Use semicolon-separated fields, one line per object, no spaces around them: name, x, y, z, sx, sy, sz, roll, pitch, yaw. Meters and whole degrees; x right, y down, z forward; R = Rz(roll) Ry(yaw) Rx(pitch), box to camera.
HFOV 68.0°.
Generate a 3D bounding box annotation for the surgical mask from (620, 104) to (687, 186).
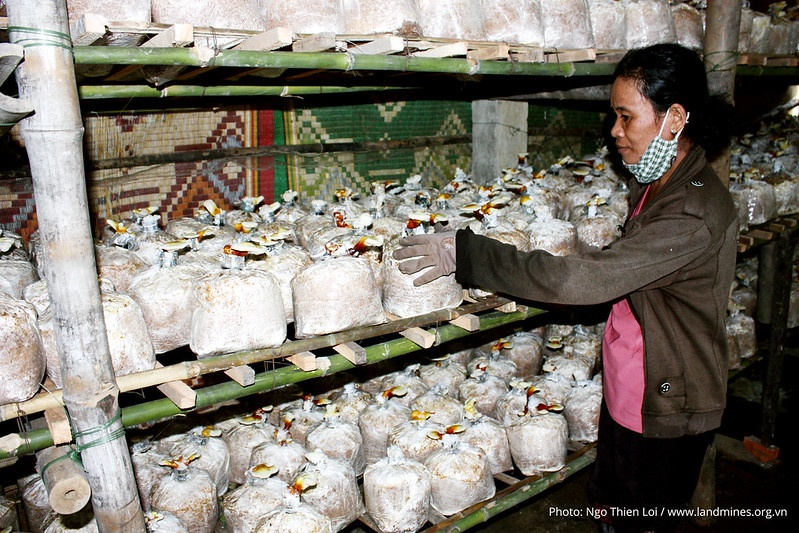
surgical mask;1.350;-0.634;3.126;0.177;0.311;0.275;32;1;-21
